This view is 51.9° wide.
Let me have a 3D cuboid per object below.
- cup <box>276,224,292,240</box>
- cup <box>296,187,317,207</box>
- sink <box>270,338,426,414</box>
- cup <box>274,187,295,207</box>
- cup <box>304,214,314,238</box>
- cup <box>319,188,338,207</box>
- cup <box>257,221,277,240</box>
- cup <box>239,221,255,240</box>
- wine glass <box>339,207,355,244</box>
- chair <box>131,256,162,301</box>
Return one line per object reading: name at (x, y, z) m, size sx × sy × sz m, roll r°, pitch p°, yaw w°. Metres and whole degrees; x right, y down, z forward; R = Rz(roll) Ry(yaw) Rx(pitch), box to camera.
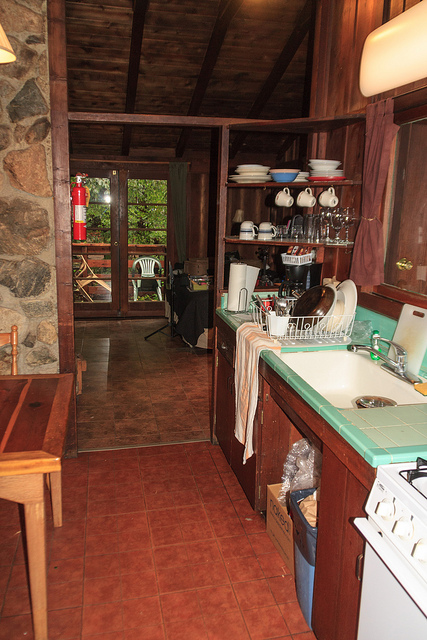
cup at (0.418, -0.518, 2.568) m, size 0.106 × 0.076 × 0.106 m, roll -1°, pitch 6°, yaw 0°
cup at (0.507, -0.683, 2.357) m, size 0.086 × 0.133 × 0.095 m, roll -11°, pitch 20°, yaw -13°
sink at (0.572, 0.220, 1.807) m, size 0.278 × 0.164 × 0.447 m, roll -3°, pitch 18°, yaw -10°
cup at (0.406, -0.693, 2.504) m, size 0.079 × 0.123 × 0.089 m, roll -14°, pitch 19°, yaw -26°
cup at (0.517, -0.509, 2.390) m, size 0.036 × 0.118 × 0.071 m, roll -4°, pitch 12°, yaw -26°
cup at (0.594, -0.633, 2.301) m, size 0.066 × 0.110 × 0.074 m, roll -5°, pitch 23°, yaw -17°
cup at (0.314, -0.536, 2.643) m, size 0.130 × 0.124 × 0.087 m, roll 0°, pitch 2°, yaw -5°
cup at (0.189, -0.530, 2.657) m, size 0.112 × 0.113 × 0.089 m, roll 4°, pitch -4°, yaw -29°
wine glass at (0.688, -0.493, 2.283) m, size 0.076 × 0.189 × 0.283 m, roll 5°, pitch 11°, yaw 16°
chair at (-1.050, -0.669, 6.859) m, size 0.535 × 0.806 × 0.602 m, roll -1°, pitch 15°, yaw -10°
